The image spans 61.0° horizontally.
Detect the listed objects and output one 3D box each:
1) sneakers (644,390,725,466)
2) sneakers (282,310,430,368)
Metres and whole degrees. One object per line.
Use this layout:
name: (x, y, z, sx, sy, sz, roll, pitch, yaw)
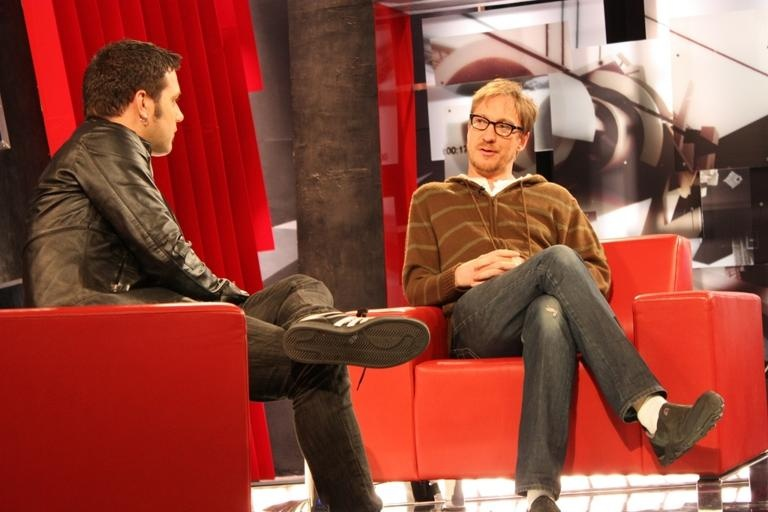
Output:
sneakers: (0.851, 0.517, 1.973, 0.137, 0.323, 0.119, 24, 40, -10)
sneakers: (-0.071, 0.209, 1.810, 0.418, 0.155, 0.192, 3, 7, -1)
